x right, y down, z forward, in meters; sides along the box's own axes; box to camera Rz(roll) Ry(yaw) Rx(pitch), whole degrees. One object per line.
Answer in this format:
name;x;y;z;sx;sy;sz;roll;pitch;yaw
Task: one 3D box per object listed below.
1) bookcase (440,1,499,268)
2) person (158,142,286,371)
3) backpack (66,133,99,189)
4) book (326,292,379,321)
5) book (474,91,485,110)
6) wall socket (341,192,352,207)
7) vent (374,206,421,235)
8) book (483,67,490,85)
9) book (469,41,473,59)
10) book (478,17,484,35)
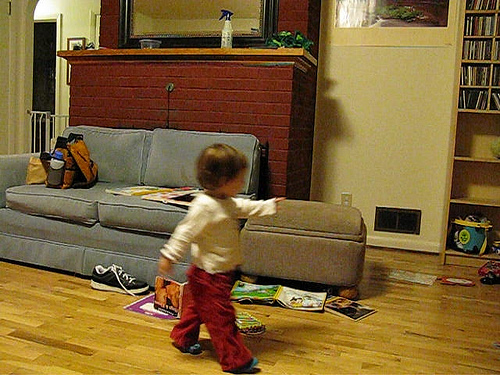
bookcase;1.970;-0.477;3.531;0.524;2.406;0.338;2;10;18
person;-0.127;0.285;2.094;0.528;1.034;0.830;2;9;-2
backpack;-1.340;-0.209;3.174;0.224;0.408;0.378;-4;14;-6
book;0.634;0.753;2.576;0.323;0.046;0.328;10;12;38
book;1.929;-0.732;3.378;0.066;0.142;0.016;4;9;6
wall socket;0.933;0.113;3.859;0.116;0.203;0.039;4;11;18
vent;1.424;0.317;3.868;0.412;0.237;0.036;5;9;11
book;1.965;-0.926;3.351;0.047;0.139;0.015;2;9;-2
book;1.841;-1.144;3.349;0.027;0.138;0.012;6;9;18
book;1.915;-1.341;3.335;0.025;0.106;0.105;6;10;15
